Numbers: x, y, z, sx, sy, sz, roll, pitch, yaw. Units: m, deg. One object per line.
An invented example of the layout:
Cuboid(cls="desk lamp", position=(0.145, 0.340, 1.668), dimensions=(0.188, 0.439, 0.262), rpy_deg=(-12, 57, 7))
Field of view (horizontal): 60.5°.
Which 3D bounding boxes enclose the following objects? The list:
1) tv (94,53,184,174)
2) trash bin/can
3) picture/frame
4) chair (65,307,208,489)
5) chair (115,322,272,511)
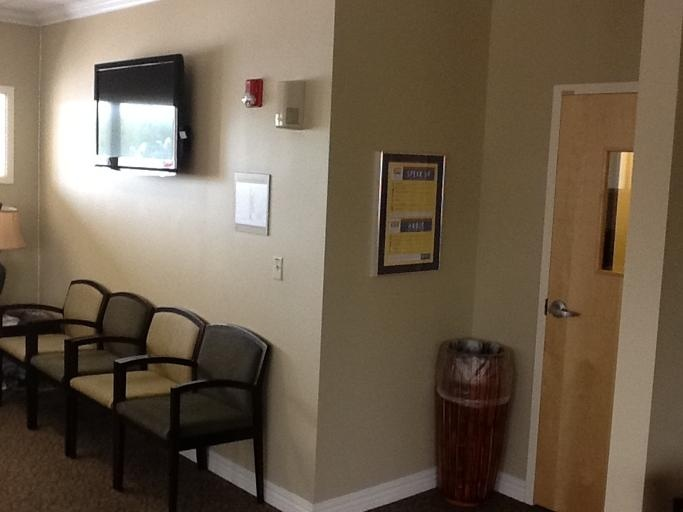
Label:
Cuboid(cls="tv", position=(-1.459, -1.018, 4.251), dimensions=(1.012, 0.822, 0.151), rpy_deg=(9, 10, 35))
Cuboid(cls="trash bin/can", position=(0.796, 1.055, 3.619), dimensions=(0.457, 0.974, 0.216), rpy_deg=(4, 9, 13))
Cuboid(cls="picture/frame", position=(0.395, -0.282, 3.494), dimensions=(0.627, 0.915, 0.056), rpy_deg=(-7, 13, -36))
Cuboid(cls="chair", position=(-1.335, 0.780, 3.838), dimensions=(0.635, 0.863, 0.711), rpy_deg=(7, 1, 43))
Cuboid(cls="chair", position=(-0.910, 0.955, 3.551), dimensions=(0.721, 1.020, 0.810), rpy_deg=(-7, 13, -43))
